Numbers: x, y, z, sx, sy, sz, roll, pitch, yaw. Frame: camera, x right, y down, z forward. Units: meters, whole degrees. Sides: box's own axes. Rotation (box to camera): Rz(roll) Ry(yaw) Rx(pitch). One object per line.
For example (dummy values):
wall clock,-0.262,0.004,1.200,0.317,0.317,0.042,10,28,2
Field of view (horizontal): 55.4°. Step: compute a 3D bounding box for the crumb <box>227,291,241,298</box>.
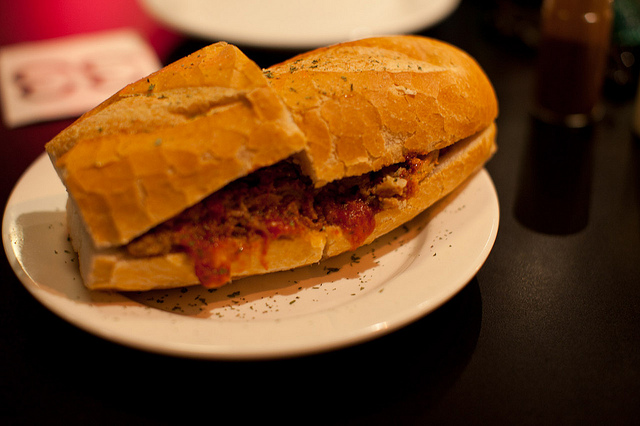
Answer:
crumb,-0.221,0.213,1.572,0.015,0.005,0.015,-28,28,-34
